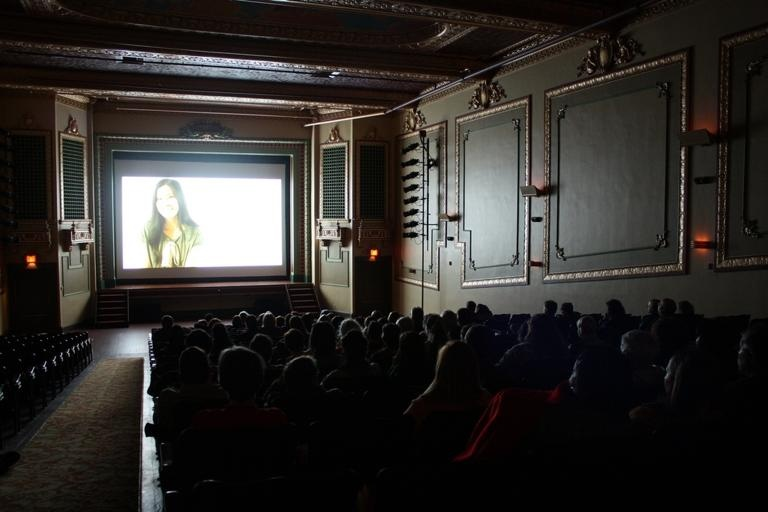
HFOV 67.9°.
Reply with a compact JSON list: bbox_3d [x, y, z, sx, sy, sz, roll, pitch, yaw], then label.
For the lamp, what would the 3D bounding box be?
[{"bbox_3d":[0.944,-1.474,15.312,0.750,1.932,0.767,-8,-13,28],"label":"lamp"}]
